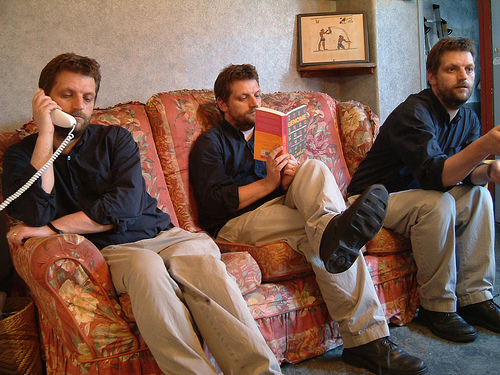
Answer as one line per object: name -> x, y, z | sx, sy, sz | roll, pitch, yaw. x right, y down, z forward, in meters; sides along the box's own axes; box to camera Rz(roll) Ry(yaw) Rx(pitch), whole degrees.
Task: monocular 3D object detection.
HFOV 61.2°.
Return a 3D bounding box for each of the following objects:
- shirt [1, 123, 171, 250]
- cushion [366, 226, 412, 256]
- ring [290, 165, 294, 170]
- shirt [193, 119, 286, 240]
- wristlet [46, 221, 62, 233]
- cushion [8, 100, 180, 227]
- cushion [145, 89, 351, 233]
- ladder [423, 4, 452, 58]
shirt -> -0.680, 0.003, 1.721 | 0.387, 0.452, 0.282 | -37, 12, -36
cushion -> 0.657, 0.226, 2.001 | 0.166, 0.061, 0.167 | 2, -2, -31
ring -> 0.198, -0.098, 2.001 | 0.004, 0.019, 0.013 | 15, -8, -24
shirt -> -0.003, -0.065, 2.207 | 0.500, 0.670, 0.461 | -4, 8, -28
wristlet -> -0.740, 0.150, 1.590 | 0.070, 0.024, 0.026 | 36, -19, -7
cushion -> -0.755, -0.051, 2.276 | 0.253, 0.682, 0.655 | -23, -8, 40
cushion -> 0.077, -0.155, 2.399 | 1.108, 0.791, 0.608 | 1, 13, -9
ladder -> 1.865, -1.600, 4.209 | 0.226, 0.542, 0.779 | 1, 9, 30
